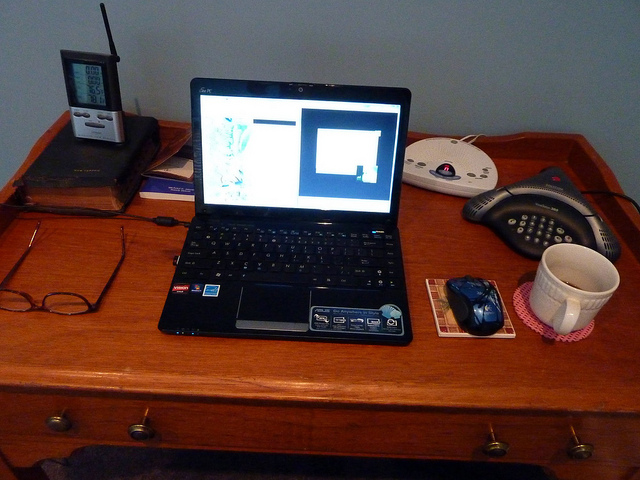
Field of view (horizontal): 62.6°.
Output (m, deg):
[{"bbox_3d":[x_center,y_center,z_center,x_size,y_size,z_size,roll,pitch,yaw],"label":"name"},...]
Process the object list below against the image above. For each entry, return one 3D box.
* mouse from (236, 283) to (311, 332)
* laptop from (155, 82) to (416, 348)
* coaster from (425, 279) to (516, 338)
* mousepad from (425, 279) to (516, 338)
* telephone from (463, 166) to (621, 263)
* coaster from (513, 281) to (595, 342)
[{"bbox_3d":[-0.080,0.132,0.941,0.124,0.007,0.074,4,49,4],"label":"mouse"},{"bbox_3d":[-0.040,-0.059,0.955,0.450,0.412,0.291,4,21,0],"label":"laptop"},{"bbox_3d":[0.281,0.120,0.958,0.170,0.014,0.135,16,62,-2],"label":"coaster"},{"bbox_3d":[0.264,0.113,0.916,0.123,0.011,0.114,5,37,7],"label":"mousepad"},{"bbox_3d":[0.456,-0.046,1.059,0.220,0.057,0.207,19,50,18],"label":"telephone"},{"bbox_3d":[0.433,0.114,0.927,0.118,0.068,0.188,23,25,16],"label":"coaster"}]
